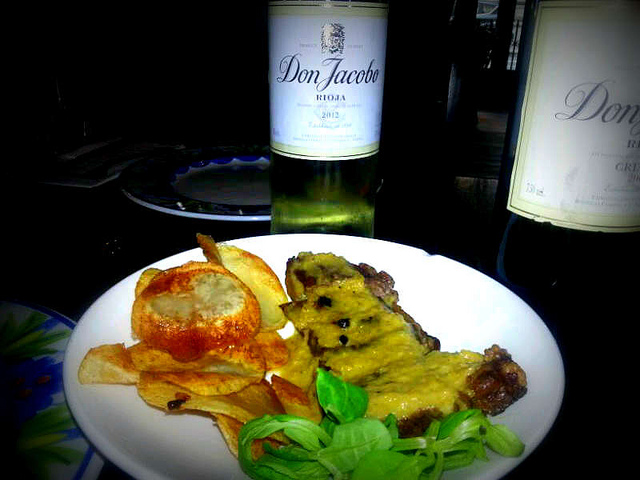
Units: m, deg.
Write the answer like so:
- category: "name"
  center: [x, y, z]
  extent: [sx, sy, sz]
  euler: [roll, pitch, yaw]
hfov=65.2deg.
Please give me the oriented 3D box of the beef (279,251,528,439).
- category: "beef"
  center: [0.081, 0.119, 0.652]
  extent: [0.196, 0.071, 0.343]
  euler: [-18, 37, -32]

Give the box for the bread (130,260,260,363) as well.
- category: "bread"
  center: [-0.153, 0.095, 0.629]
  extent: [0.134, 0.089, 0.109]
  euler: [-23, 40, -37]
